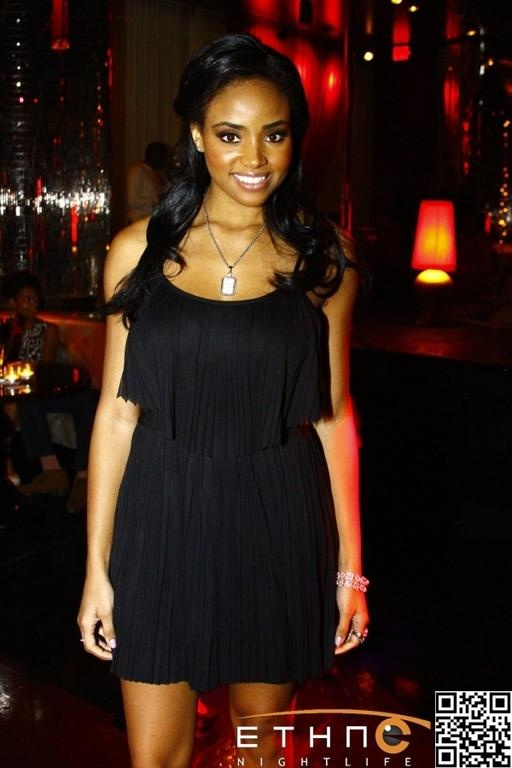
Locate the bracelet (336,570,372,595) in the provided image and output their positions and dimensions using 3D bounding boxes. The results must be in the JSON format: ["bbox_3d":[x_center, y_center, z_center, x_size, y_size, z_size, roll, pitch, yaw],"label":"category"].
[{"bbox_3d":[0.172,0.340,1.111,0.046,0.021,0.037,9,2,2],"label":"bracelet"}]

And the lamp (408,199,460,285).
[{"bbox_3d":[1.172,-0.929,4.237,0.288,0.581,0.592,2,8,16],"label":"lamp"}]

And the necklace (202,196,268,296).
[{"bbox_3d":[-0.038,-0.219,1.046,0.095,0.187,0.016,-4,45,-16],"label":"necklace"}]
